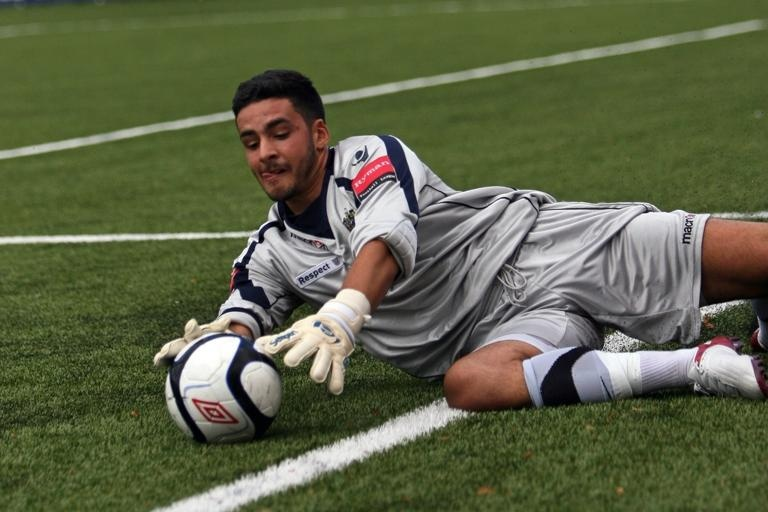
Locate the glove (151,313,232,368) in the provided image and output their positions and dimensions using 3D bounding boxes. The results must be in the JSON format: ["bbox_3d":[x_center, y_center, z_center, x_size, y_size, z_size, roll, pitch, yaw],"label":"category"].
[{"bbox_3d":[-0.929,0.397,3.706,0.298,0.143,0.244,-26,12,-9],"label":"glove"}]

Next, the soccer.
[{"bbox_3d":[-0.694,0.595,3.639,0.502,0.491,0.478,-24,-12,4],"label":"soccer"}]
